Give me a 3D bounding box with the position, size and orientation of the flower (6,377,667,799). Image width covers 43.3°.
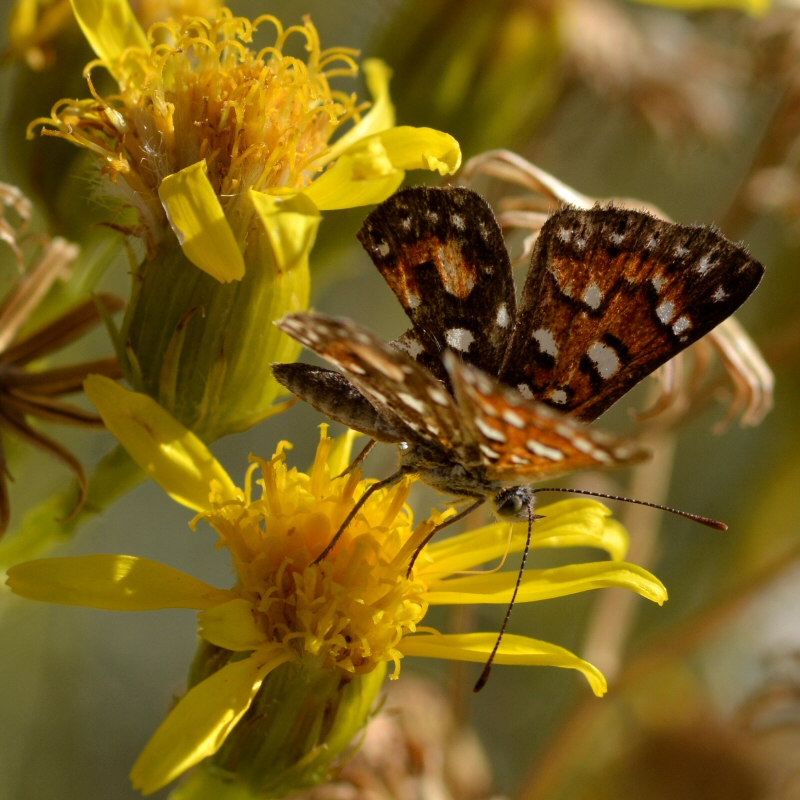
[{"bbox_3d":[-0.091,0.153,0.952,0.534,0.435,0.192,13,80,-3],"label":"flower"}]
